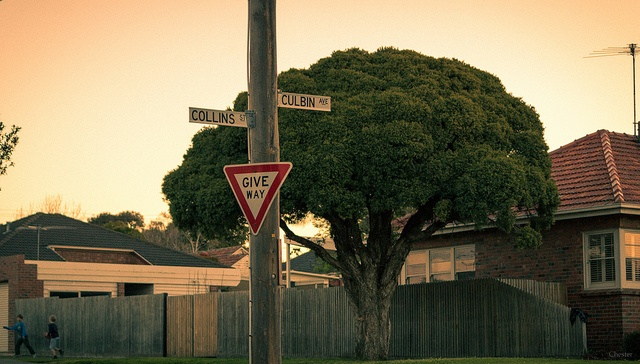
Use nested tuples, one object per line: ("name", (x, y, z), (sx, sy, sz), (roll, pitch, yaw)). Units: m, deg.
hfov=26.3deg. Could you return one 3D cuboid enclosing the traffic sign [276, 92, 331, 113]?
("traffic sign", (-0.685, -3.483, 58.806), (2.314, 0.726, 0.421), (3, -13, -18))
